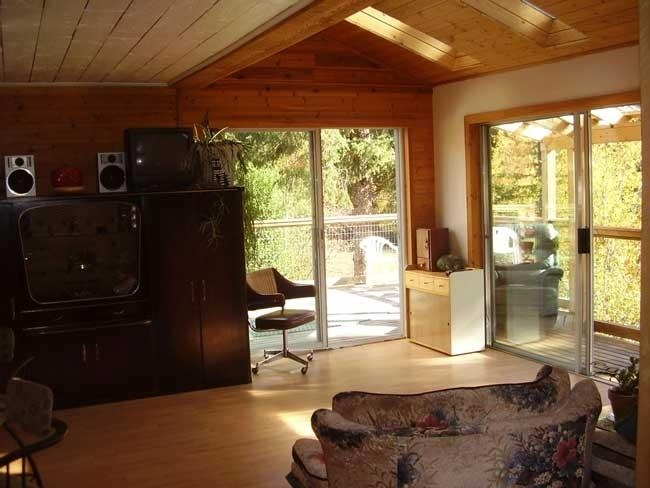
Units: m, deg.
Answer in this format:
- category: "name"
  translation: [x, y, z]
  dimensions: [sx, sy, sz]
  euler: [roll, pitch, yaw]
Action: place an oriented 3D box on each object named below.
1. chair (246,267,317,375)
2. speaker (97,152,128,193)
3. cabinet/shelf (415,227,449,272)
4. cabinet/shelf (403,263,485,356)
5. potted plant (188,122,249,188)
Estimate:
- category: "chair"
  translation: [-0.487, 0.850, 5.662]
  dimensions: [0.763, 1.024, 0.892]
  euler: [1, 2, 20]
- category: "speaker"
  translation: [-2.082, -0.696, 4.873]
  dimensions: [0.261, 0.376, 0.169]
  euler: [-5, 8, -22]
- category: "cabinet/shelf"
  translation: [1.369, 0.074, 6.339]
  dimensions: [0.374, 0.519, 0.424]
  euler: [-3, 3, -7]
- category: "cabinet/shelf"
  translation: [1.491, 0.795, 6.207]
  dimensions: [0.565, 0.946, 0.978]
  euler: [-2, 3, -21]
- category: "potted plant"
  translation: [-1.149, -0.870, 5.337]
  dimensions: [0.691, 0.655, 0.672]
  euler: [-3, 4, -36]
